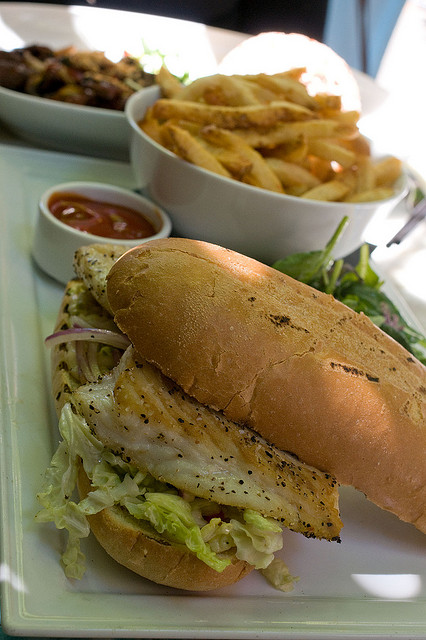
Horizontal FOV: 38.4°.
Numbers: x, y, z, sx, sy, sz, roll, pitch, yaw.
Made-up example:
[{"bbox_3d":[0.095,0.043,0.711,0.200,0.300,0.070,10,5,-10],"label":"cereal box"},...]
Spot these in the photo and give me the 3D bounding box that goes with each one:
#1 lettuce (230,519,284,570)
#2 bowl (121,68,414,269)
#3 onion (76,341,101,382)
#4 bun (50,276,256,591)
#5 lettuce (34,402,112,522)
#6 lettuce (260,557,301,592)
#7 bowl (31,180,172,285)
[{"bbox_3d":[0.077,0.415,1.128,0.101,0.040,0.092,17,19,-21],"label":"lettuce"},{"bbox_3d":[0.193,-0.358,2.004,0.834,0.409,0.755,13,20,-38],"label":"bowl"},{"bbox_3d":[-0.284,0.083,1.353,0.044,0.028,0.155,18,17,-27],"label":"onion"},{"bbox_3d":[-0.195,0.262,1.274,0.585,0.297,0.159,55,17,9],"label":"bun"},{"bbox_3d":[-0.271,0.268,1.188,0.128,0.209,0.069,-5,-3,26],"label":"lettuce"},{"bbox_3d":[0.134,0.510,1.218,0.047,0.022,0.067,-13,44,-42],"label":"lettuce"},{"bbox_3d":[-0.336,-0.265,1.964,0.422,0.193,0.375,7,35,-26],"label":"bowl"}]
